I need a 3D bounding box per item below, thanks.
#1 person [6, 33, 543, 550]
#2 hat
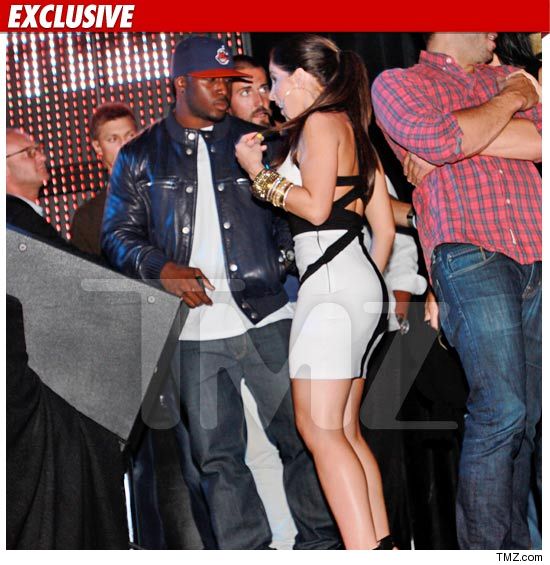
[{"bbox_3d":[-0.236,0.109,1.796,0.975,1.100,0.600,-3,-7,9],"label":"person"},{"bbox_3d":[-0.229,-0.750,1.915,0.151,0.093,0.123,10,24,20],"label":"hat"}]
